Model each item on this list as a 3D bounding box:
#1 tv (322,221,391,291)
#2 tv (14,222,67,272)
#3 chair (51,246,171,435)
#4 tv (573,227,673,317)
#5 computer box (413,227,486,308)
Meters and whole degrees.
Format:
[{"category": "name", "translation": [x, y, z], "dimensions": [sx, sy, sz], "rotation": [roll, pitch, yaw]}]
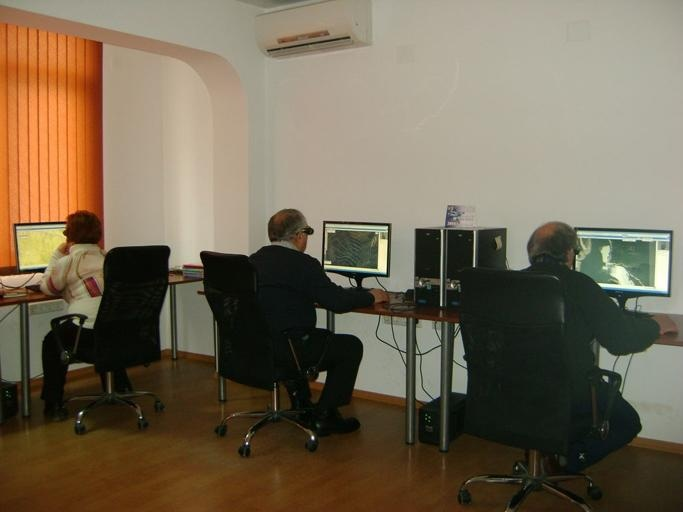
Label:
[{"category": "tv", "translation": [0.113, -0.016, 4.924], "dimensions": [0.540, 0.482, 0.116], "rotation": [2, 2, 27]}, {"category": "tv", "translation": [-2.468, -0.068, 5.113], "dimensions": [0.041, 0.295, 0.389], "rotation": [3, 8, 33]}, {"category": "chair", "translation": [-1.679, 0.578, 4.641], "dimensions": [0.814, 1.358, 0.501], "rotation": [-2, 10, -12]}, {"category": "tv", "translation": [1.772, 0.083, 3.977], "dimensions": [0.557, 0.556, 0.187], "rotation": [1, 2, 30]}, {"category": "computer box", "translation": [0.713, 0.129, 4.489], "dimensions": [0.427, 0.579, 0.321], "rotation": [4, -20, 3]}]
